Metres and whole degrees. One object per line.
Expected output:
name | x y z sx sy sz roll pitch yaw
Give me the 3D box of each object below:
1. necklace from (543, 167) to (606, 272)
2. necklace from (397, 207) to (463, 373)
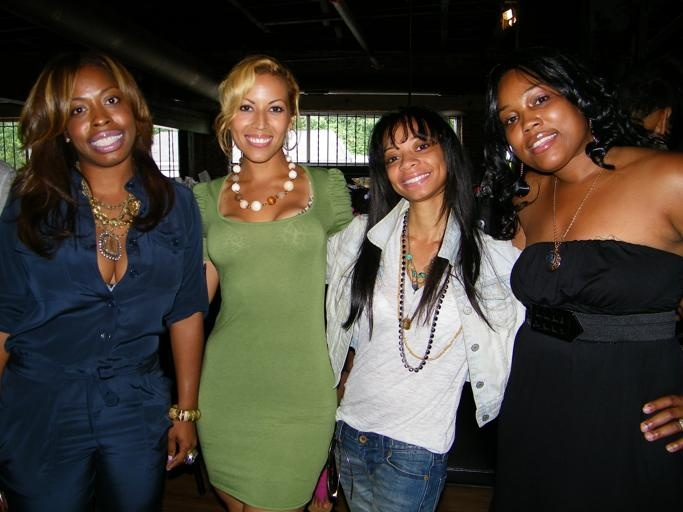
necklace | 0.878 -0.170 2.074 0.147 0.029 0.489 4 49 33
necklace | 0.328 0.178 2.140 0.169 0.563 0.038 3 -18 28
